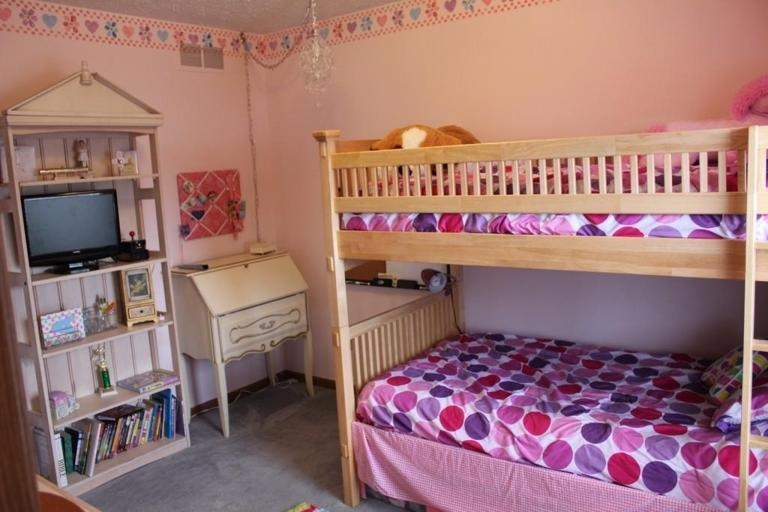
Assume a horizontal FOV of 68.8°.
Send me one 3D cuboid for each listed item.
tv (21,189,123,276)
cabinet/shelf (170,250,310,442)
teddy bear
[{"bbox_3d":[-2.204,-0.173,3.918,0.164,0.489,0.621,10,16,42],"label":"tv"},{"bbox_3d":[-1.139,0.682,4.823,1.003,1.318,0.621,-14,16,-42],"label":"cabinet/shelf"},{"bbox_3d":[0.257,-0.652,3.776,0.602,0.143,0.500,0,9,23],"label":"teddy bear"}]
